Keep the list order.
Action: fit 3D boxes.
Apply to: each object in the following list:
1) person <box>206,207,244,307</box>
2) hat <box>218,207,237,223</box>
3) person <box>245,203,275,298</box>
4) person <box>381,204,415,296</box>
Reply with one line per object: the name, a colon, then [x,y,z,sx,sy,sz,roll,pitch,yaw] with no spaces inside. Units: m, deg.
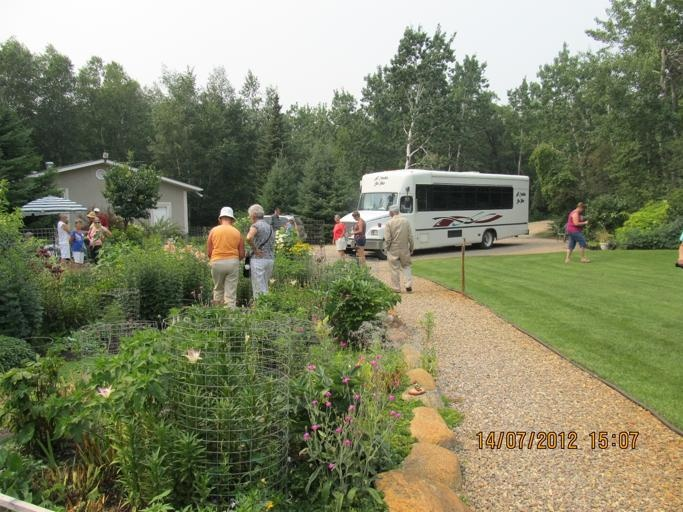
person: [-2.177,0.012,11.564,0.648,1.878,0.747,-2,2,-34]
hat: [-2.160,-0.798,11.476,0.264,0.254,0.233,-2,2,-28]
person: [-1.661,-0.128,12.115,0.408,1.768,0.862,-1,1,14]
person: [1.365,-0.173,14.729,0.677,2.086,0.514,-1,1,-4]
